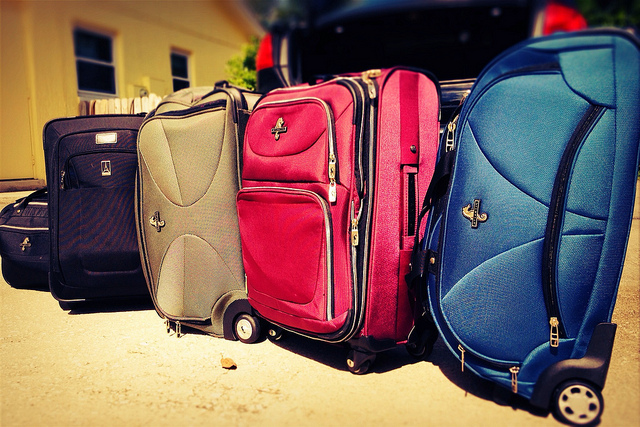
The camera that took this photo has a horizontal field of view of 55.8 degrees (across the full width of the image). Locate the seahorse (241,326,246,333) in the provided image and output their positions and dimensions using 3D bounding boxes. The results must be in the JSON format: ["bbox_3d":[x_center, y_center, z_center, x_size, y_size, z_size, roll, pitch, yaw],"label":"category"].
[{"bbox_3d":[-0.457,0.688,3.611,0.038,0.041,0.010,0,-1,38],"label":"seahorse"}]

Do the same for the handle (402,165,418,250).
[{"bbox_3d":[0.506,-0.030,3.294,0.057,0.553,0.136,-3,-23,20],"label":"handle"}]

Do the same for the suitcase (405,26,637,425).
[{"bbox_3d":[1.154,0.102,3.138,0.506,1.792,1.317,7,2,-45],"label":"suitcase"}]

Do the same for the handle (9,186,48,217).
[{"bbox_3d":[-2.195,-0.085,4.594,0.268,0.278,0.194,3,-2,-22],"label":"handle"}]

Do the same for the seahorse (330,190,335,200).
[{"bbox_3d":[0.071,-0.100,3.195,0.033,0.033,0.007,-10,-9,43],"label":"seahorse"}]

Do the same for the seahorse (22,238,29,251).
[{"bbox_3d":[-2.148,0.221,4.402,0.035,0.096,0.011,0,-12,14],"label":"seahorse"}]

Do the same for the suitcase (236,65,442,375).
[{"bbox_3d":[0.059,-0.013,3.657,1.084,1.744,0.926,6,11,39],"label":"suitcase"}]

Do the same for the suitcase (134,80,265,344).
[{"bbox_3d":[-0.621,-0.014,4.008,1.056,1.593,0.921,-1,1,16],"label":"suitcase"}]
